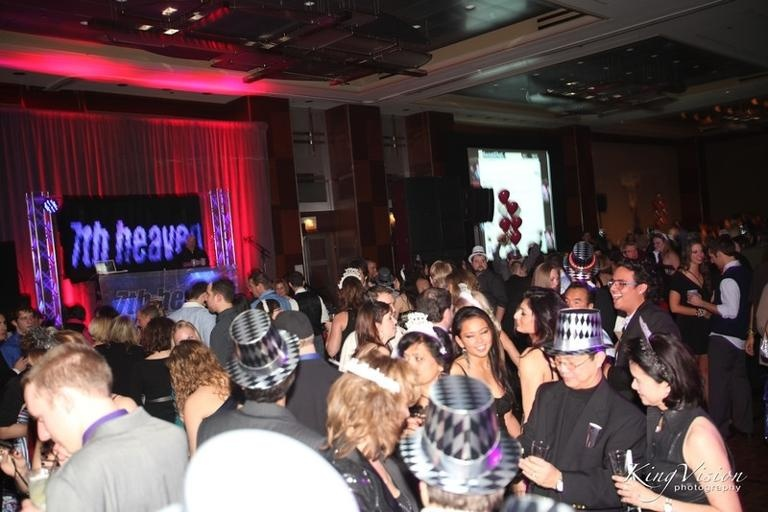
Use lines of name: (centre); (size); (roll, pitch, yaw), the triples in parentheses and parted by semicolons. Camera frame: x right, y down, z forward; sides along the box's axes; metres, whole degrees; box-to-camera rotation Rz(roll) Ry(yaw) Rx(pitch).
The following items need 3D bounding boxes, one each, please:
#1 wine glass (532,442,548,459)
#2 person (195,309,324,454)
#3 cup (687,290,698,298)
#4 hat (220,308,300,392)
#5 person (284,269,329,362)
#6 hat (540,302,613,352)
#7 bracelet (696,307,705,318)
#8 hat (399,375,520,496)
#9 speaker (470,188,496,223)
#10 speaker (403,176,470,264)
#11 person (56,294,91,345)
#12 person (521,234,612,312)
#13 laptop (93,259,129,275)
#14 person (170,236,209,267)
wine glass: (0.949, 1.186, 3.333); (0.101, 0.109, 0.103); (0, -10, 5)
person: (-0.766, 0.801, 3.438); (0.919, 1.034, 0.567); (2, 38, -8)
cup: (3.604, 0.448, 6.370); (0.090, 0.065, 0.090); (0, -13, 0)
hat: (-0.745, 0.553, 3.233); (0.443, 0.249, 0.452); (-36, 47, -16)
person: (-1.043, 0.922, 7.492); (0.539, 1.378, 0.503); (-10, 19, -26)
hat: (1.331, 0.525, 3.779); (0.528, 0.264, 0.436); (4, -4, -11)
bracelet: (3.716, 0.670, 6.444); (0.089, 0.104, 0.039); (-17, -37, -20)
hat: (0.366, 0.777, 2.518); (0.571, 0.325, 0.562); (-13, 17, -39)
speaker: (2.507, -1.319, 13.986); (0.269, 0.854, 0.951); (-1, 5, 44)
speaker: (1.150, -0.799, 12.531); (2.057, 2.226, 0.737); (4, -9, -32)
person: (-4.273, 0.772, 7.689); (0.347, 0.757, 0.334); (16, -43, -30)
person: (2.407, 0.226, 6.967); (0.812, 0.453, 1.165); (1, 25, 10)
laptop: (-4.921, 0.203, 9.802); (0.253, 0.290, 0.389); (-16, -14, 41)
person: (-3.764, -0.016, 10.794); (0.710, 1.009, 0.597); (-3, -1, -25)
